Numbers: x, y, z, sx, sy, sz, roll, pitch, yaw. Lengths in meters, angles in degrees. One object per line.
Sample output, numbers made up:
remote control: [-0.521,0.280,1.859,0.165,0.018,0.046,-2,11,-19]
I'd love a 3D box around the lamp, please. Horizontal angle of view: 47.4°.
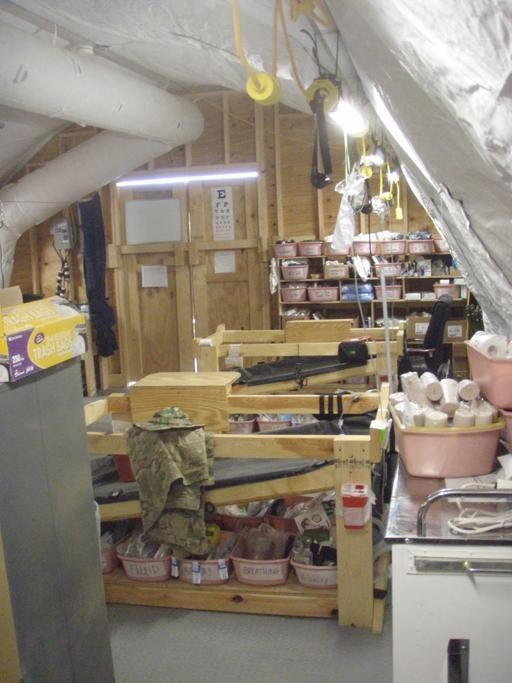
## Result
lamp: [-0.762,-1.849,6.554,1.662,0.212,0.067,-1,10,13]

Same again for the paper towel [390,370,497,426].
paper towel: [0.550,0.168,1.703,0.302,0.128,0.376,-1,8,11]
